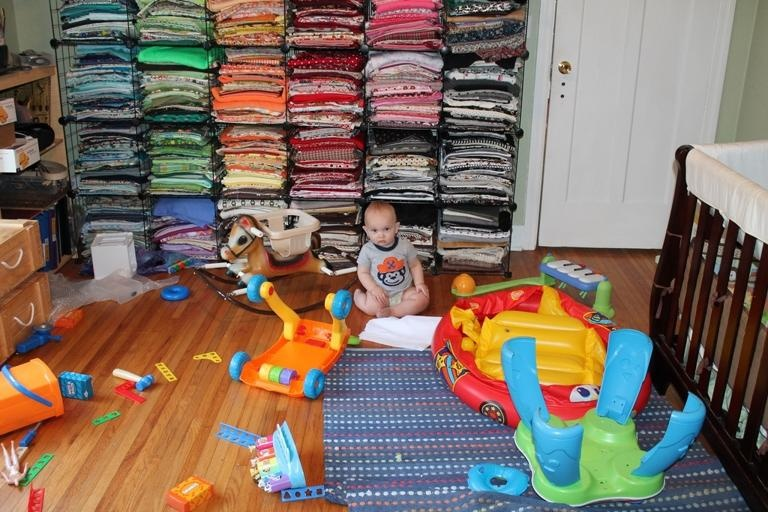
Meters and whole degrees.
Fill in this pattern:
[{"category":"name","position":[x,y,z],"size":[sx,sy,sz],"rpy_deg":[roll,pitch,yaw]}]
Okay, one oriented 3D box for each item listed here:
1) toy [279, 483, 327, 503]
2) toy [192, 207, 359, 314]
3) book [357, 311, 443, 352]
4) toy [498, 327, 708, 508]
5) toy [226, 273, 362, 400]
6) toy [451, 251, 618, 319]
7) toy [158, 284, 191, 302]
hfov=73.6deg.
[{"category":"toy","position":[-0.288,0.888,1.922],"size":[0.212,0.035,0.056],"rpy_deg":[-1,58,-8]},{"category":"toy","position":[-0.713,-0.051,3.214],"size":[0.779,0.359,0.832],"rpy_deg":[-12,32,-31]},{"category":"book","position":[0.086,0.422,2.850],"size":[0.248,0.048,0.234],"rpy_deg":[6,32,15]},{"category":"toy","position":[0.740,0.507,1.890],"size":[0.598,0.355,0.662],"rpy_deg":[-3,29,1]},{"category":"toy","position":[-0.465,0.349,2.517],"size":[0.467,0.530,0.443],"rpy_deg":[5,20,19]},{"category":"toy","position":[0.970,0.164,3.058],"size":[0.709,0.188,0.494],"rpy_deg":[-7,21,-22]},{"category":"toy","position":[-1.306,0.224,3.203],"size":[0.187,0.065,0.168],"rpy_deg":[11,22,33]}]
